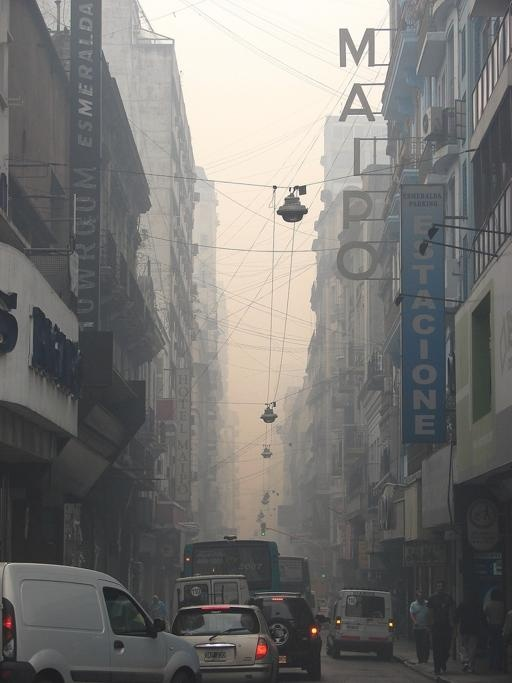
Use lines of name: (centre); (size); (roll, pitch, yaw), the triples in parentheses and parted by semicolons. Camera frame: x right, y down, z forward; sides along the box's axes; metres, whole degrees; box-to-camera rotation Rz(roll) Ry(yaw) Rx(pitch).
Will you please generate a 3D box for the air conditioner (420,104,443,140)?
air conditioner: (4.314, -5.403, 40.655); (0.456, 1.314, 1.138); (1, -11, 1)
